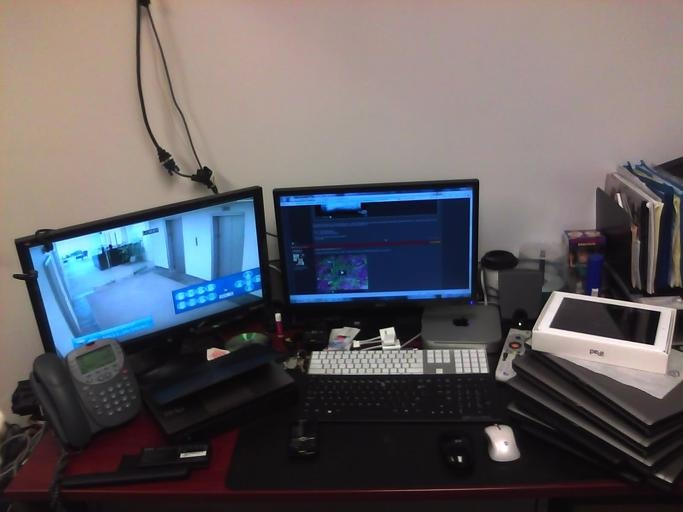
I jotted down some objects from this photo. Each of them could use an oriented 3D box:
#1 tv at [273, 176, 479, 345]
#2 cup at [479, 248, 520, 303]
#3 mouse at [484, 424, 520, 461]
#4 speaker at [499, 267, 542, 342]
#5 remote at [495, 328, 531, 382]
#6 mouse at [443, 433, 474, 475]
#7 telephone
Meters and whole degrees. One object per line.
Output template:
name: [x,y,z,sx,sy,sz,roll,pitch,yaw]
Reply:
tv: [0.118,-0.008,1.695,0.612,0.437,0.161,-2,19,5]
cup: [0.526,0.049,1.841,0.133,0.168,0.141,1,23,0]
mouse: [0.403,0.462,1.356,0.080,0.033,0.125,-3,20,0]
speaker: [0.574,0.147,1.718,0.139,0.073,0.241,-7,49,28]
remote: [0.505,0.285,1.585,0.094,0.031,0.291,2,35,29]
mouse: [0.290,0.490,1.331,0.069,0.023,0.095,2,36,3]
telephone: [-0.665,0.357,1.431,0.271,0.273,0.107,-27,-8,-34]
